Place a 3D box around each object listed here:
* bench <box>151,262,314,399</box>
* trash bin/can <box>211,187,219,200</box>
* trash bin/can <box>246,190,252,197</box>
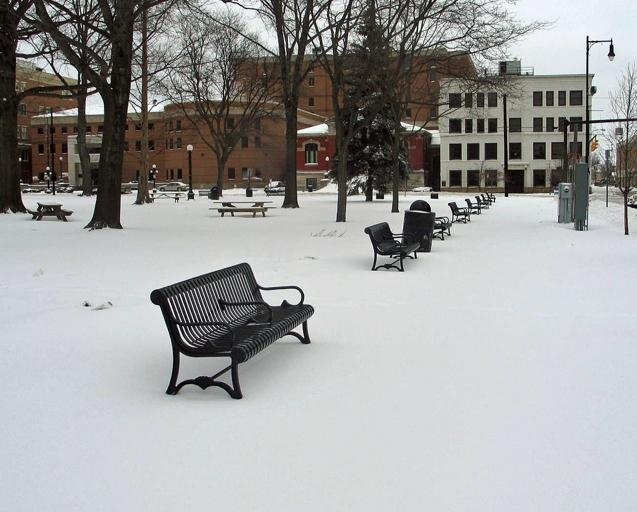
[{"bbox_3d":[-0.800,0.726,6.889,0.800,1.109,2.464,-2,4,14],"label":"bench"},{"bbox_3d":[-8.573,-5.189,52.214,0.577,0.850,1.199,-2,4,-7],"label":"trash bin/can"},{"bbox_3d":[-6.633,-6.156,60.956,0.590,0.864,0.642,-1,0,-27],"label":"trash bin/can"}]
